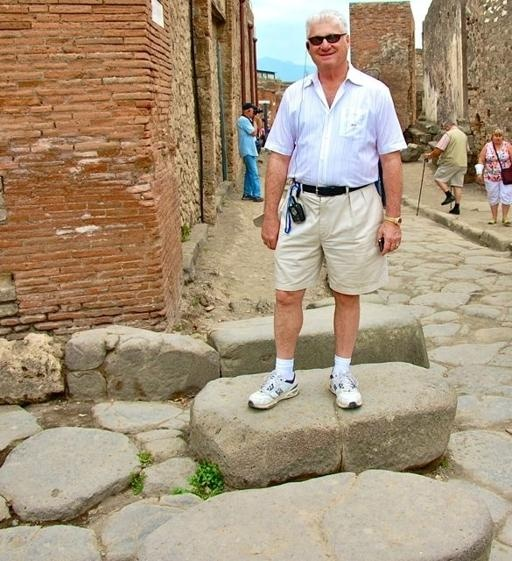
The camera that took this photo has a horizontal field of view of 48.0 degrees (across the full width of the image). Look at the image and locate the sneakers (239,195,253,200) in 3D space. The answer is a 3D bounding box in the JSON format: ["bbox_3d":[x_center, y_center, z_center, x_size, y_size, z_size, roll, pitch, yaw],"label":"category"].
[{"bbox_3d":[-0.203,-1.780,12.316,0.292,0.179,0.094,2,23,2],"label":"sneakers"}]

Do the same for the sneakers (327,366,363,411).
[{"bbox_3d":[0.420,0.508,2.708,0.090,0.089,0.216,-6,8,-6],"label":"sneakers"}]

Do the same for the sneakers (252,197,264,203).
[{"bbox_3d":[0.081,-1.737,12.412,0.317,0.119,0.093,-12,16,-36],"label":"sneakers"}]

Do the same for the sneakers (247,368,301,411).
[{"bbox_3d":[0.096,0.512,2.741,0.292,0.126,0.109,-14,16,-40],"label":"sneakers"}]

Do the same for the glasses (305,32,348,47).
[{"bbox_3d":[0.291,-1.048,2.513,0.174,0.044,0.073,5,13,33],"label":"glasses"}]

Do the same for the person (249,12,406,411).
[{"bbox_3d":[0.325,-0.296,2.616,0.688,1.749,0.456,0,12,13],"label":"person"}]

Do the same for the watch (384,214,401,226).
[{"bbox_3d":[0.629,-0.281,2.630,0.059,0.028,0.056,12,12,19],"label":"watch"}]
